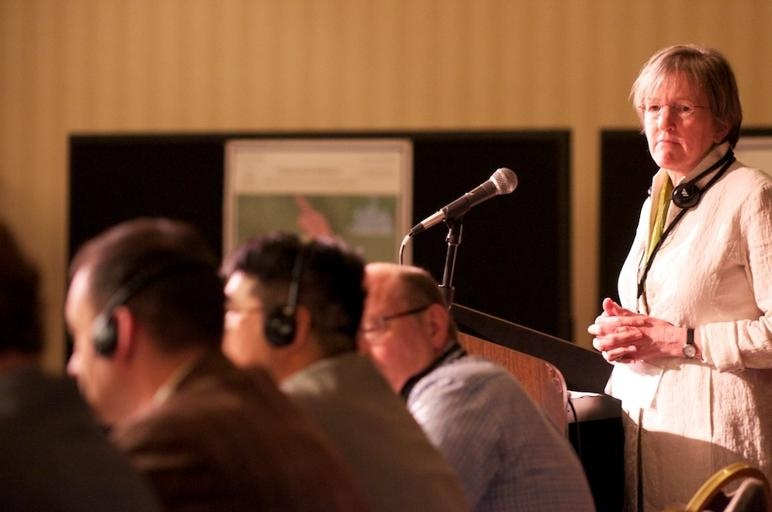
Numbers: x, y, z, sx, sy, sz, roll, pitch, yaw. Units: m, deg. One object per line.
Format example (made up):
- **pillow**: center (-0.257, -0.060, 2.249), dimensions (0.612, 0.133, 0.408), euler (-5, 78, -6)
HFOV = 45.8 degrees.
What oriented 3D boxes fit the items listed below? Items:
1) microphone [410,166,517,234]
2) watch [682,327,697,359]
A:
- **microphone**: center (0.299, -0.215, 3.675), dimensions (0.415, 0.116, 0.127), euler (-29, 41, 1)
- **watch**: center (0.793, 0.231, 2.432), dimensions (0.040, 0.068, 0.073), euler (-1, 86, 13)
